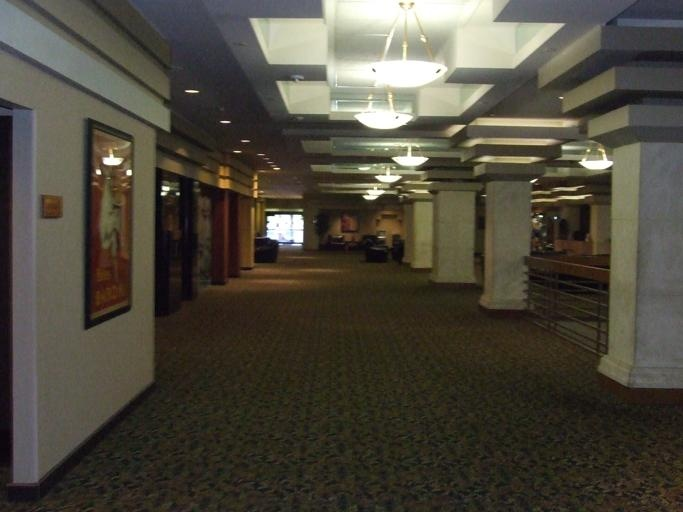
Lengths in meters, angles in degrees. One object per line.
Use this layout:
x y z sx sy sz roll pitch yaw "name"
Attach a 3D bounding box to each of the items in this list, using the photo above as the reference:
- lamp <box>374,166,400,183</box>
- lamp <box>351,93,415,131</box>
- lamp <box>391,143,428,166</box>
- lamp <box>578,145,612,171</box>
1.724 -2.942 17.946 0.680 0.384 0.670 0 3 -5 "lamp"
0.671 -2.137 7.750 1.094 0.591 1.087 2 6 3 "lamp"
1.740 -2.550 12.709 0.802 0.479 0.803 3 4 12 "lamp"
6.590 -2.565 12.934 0.735 0.690 0.753 6 9 41 "lamp"
